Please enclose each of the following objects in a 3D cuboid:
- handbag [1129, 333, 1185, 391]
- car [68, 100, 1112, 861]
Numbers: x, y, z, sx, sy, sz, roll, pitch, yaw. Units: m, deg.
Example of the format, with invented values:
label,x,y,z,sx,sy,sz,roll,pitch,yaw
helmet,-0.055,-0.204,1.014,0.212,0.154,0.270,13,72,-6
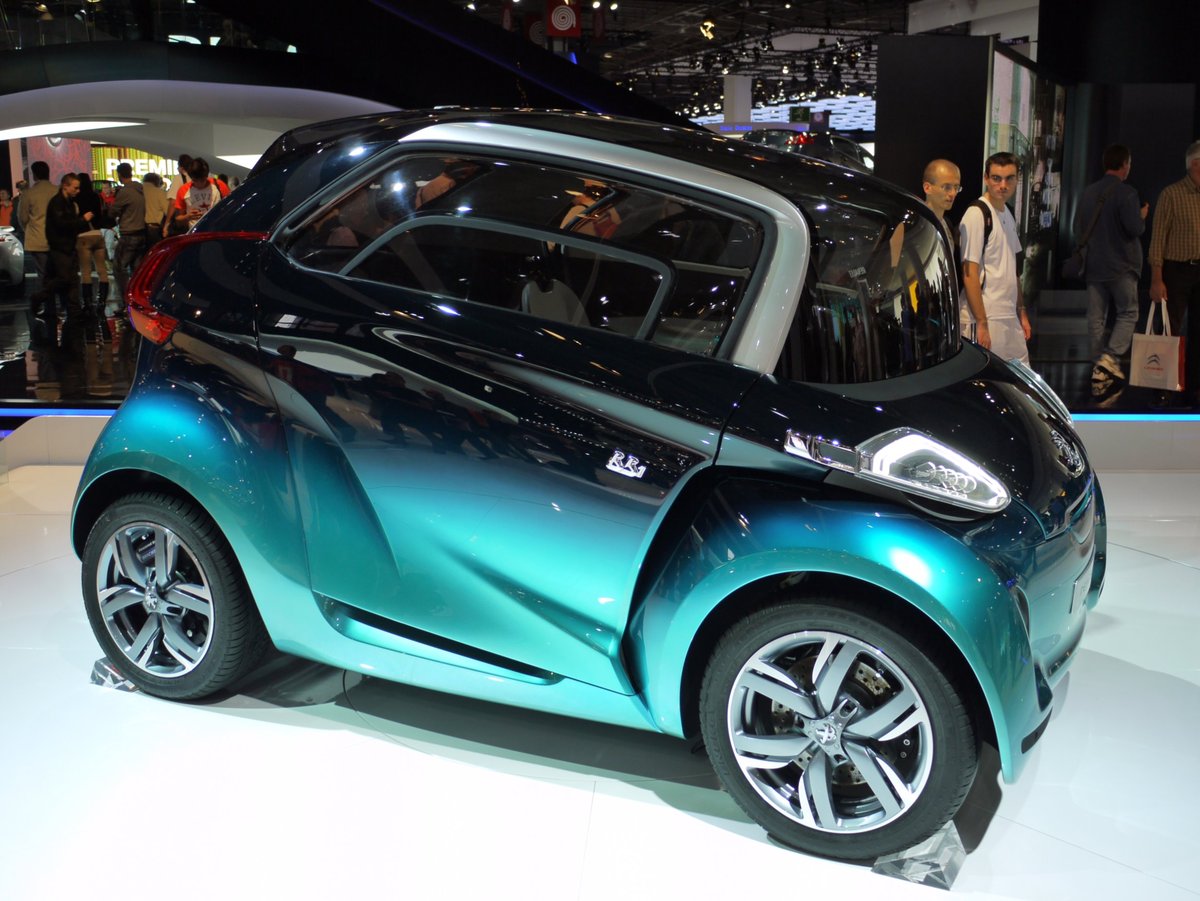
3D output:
label,x,y,z,sx,sy,sz,roll,pitch,yaw
handbag,4.291,-0.699,5.811,0.341,0.433,0.382,12,20,31
car,-0.119,-0.183,2.484,2.899,1.420,1.719,9,16,14
